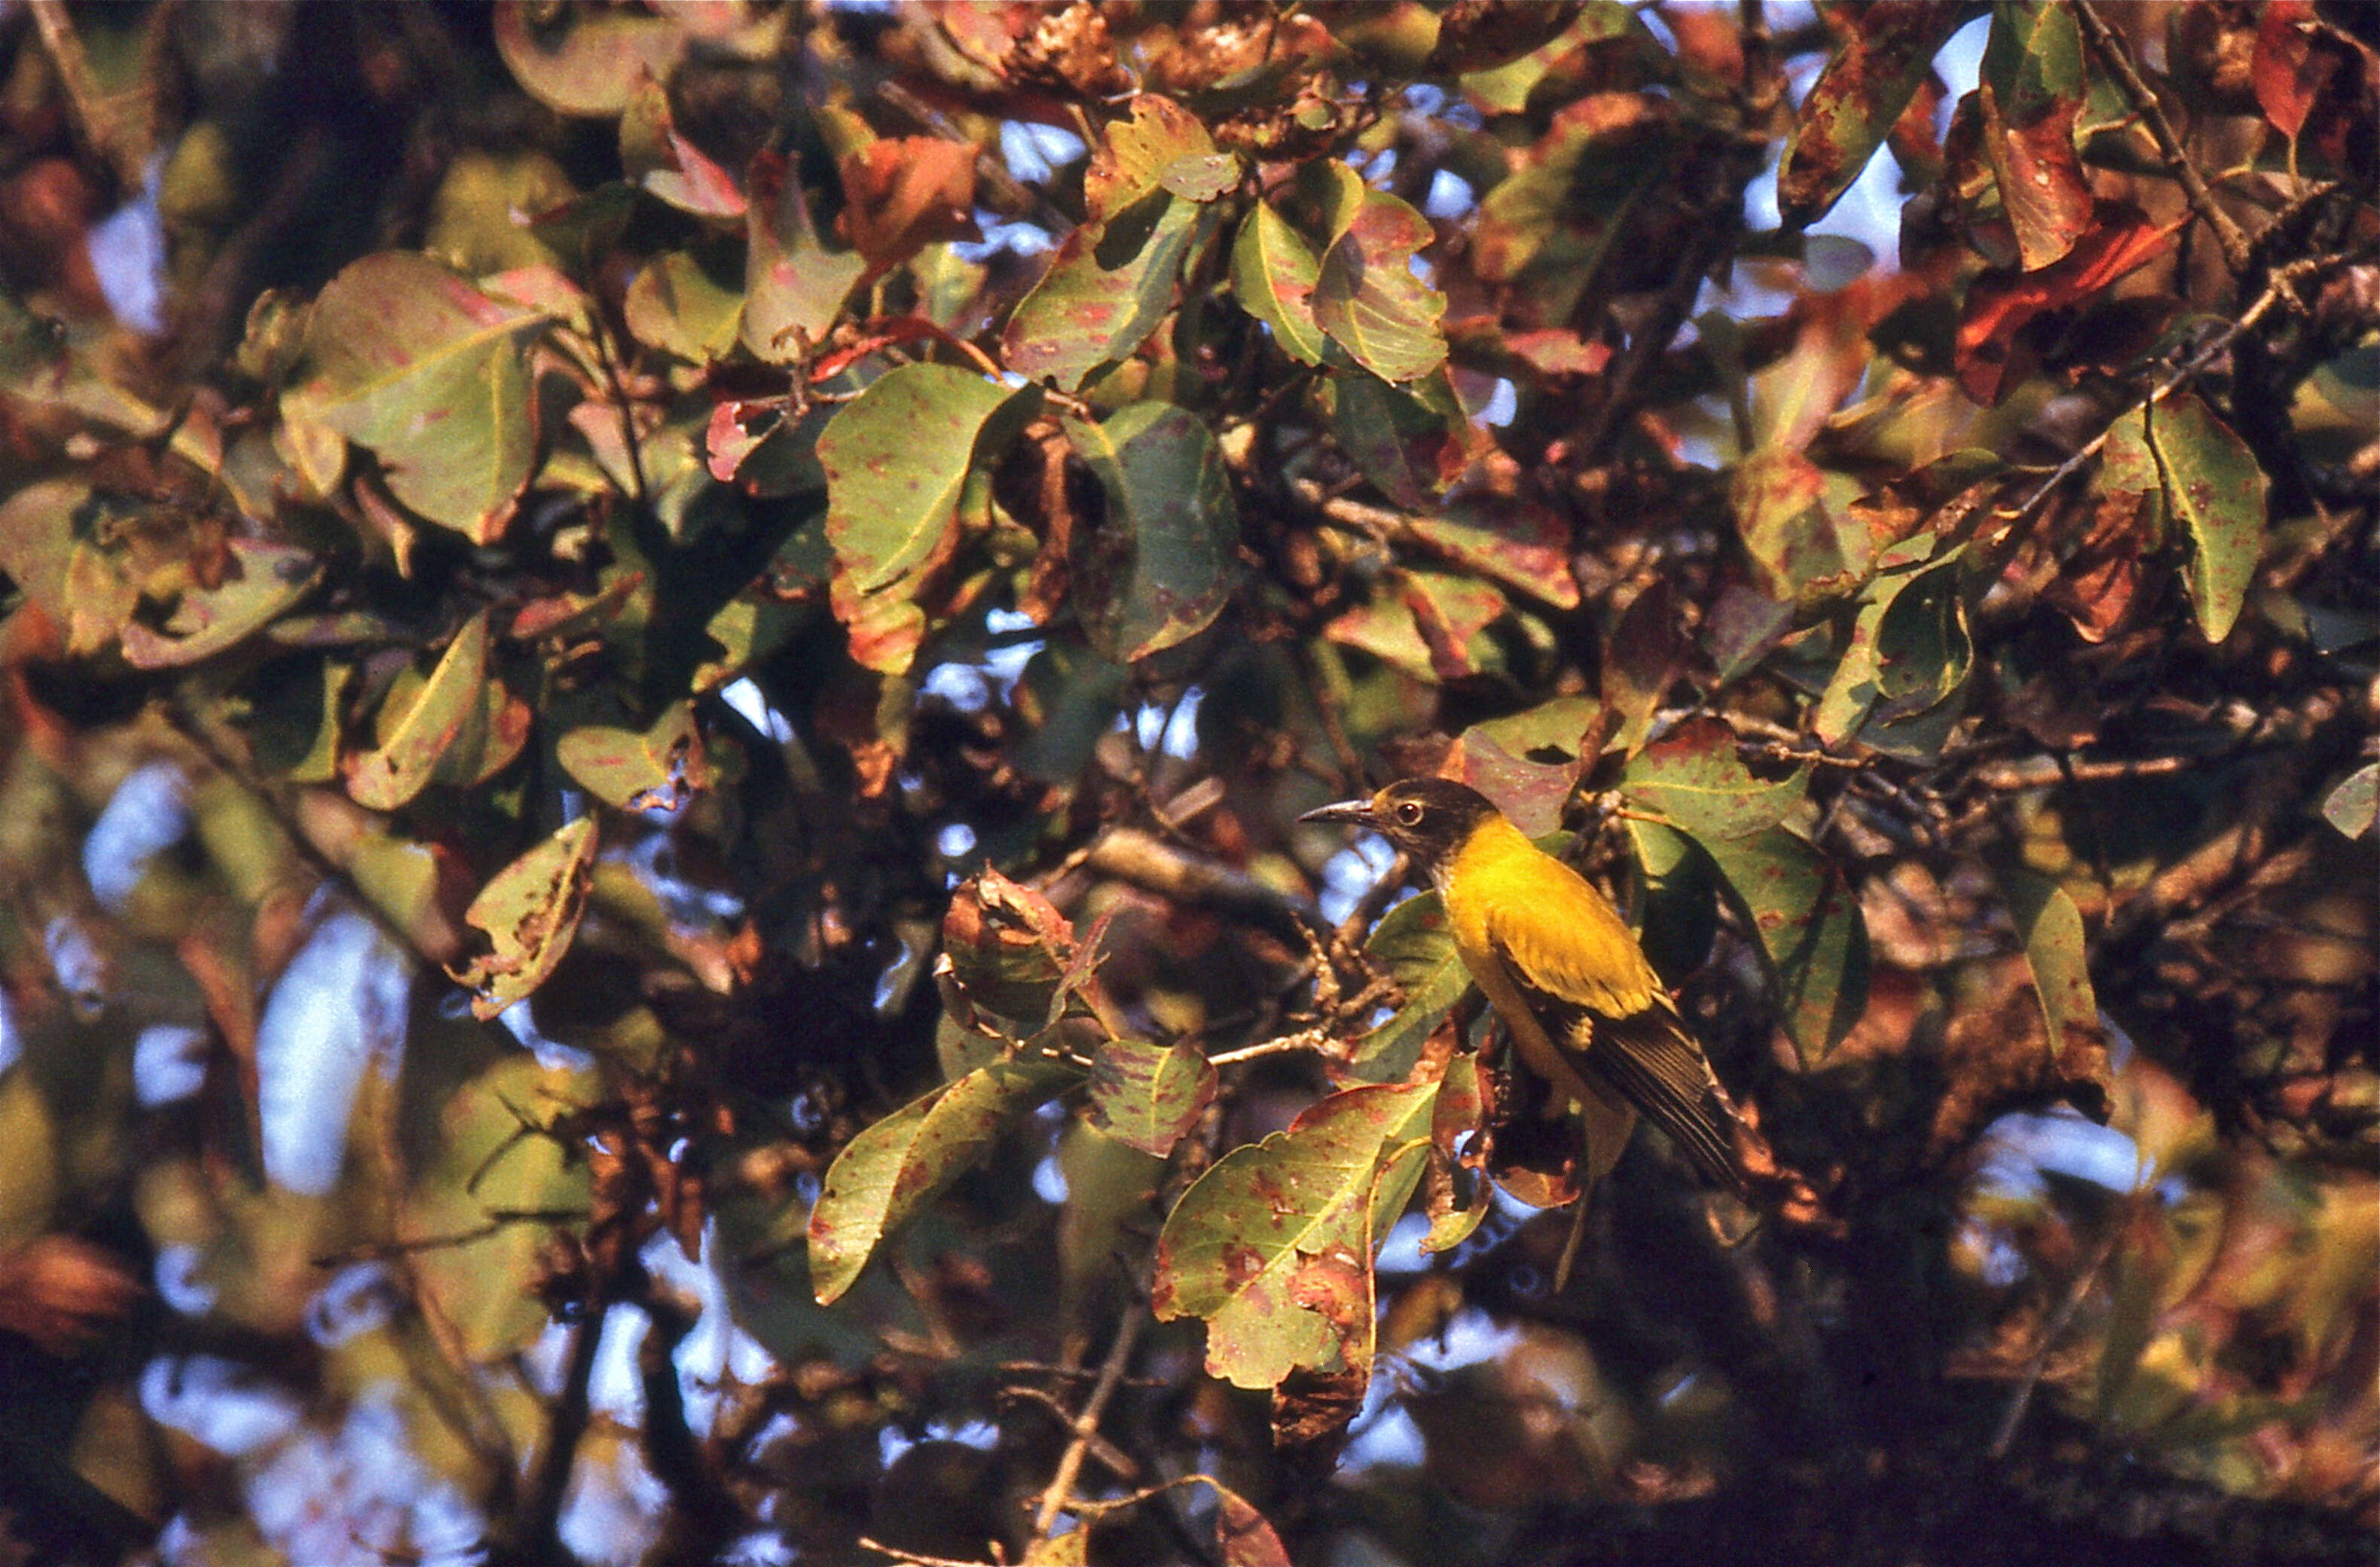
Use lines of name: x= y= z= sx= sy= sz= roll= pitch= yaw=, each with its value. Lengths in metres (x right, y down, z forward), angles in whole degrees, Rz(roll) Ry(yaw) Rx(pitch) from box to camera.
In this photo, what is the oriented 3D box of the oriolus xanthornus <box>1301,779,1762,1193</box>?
oriolus xanthornus: x=0.468 y=0.257 z=6.053 sx=0.646 sy=0.237 sz=0.504 roll=8 pitch=76 yaw=-18
